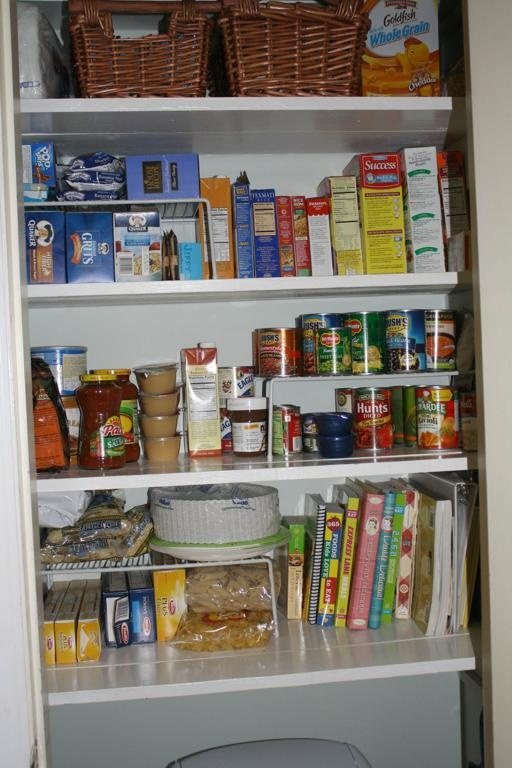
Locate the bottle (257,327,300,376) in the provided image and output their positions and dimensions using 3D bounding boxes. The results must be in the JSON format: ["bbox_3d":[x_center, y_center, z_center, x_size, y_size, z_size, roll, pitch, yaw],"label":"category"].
[{"bbox_3d":[0.043,-0.060,1.258,0.087,0.099,0.086,1,-2,-34],"label":"bottle"}]

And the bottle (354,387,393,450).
[{"bbox_3d":[0.230,0.067,1.264,0.080,0.127,0.081,-1,0,0],"label":"bottle"}]

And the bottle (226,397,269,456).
[{"bbox_3d":[-0.016,0.083,1.257,0.099,0.114,0.097,-1,-2,-22],"label":"bottle"}]

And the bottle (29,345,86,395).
[{"bbox_3d":[-0.380,-0.028,1.253,0.096,0.107,0.097,-3,9,-16],"label":"bottle"}]

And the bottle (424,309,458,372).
[{"bbox_3d":[0.382,-0.090,1.263,0.073,0.127,0.073,-1,0,0],"label":"bottle"}]

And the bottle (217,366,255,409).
[{"bbox_3d":[-0.042,0.008,1.323,0.073,0.082,0.073,-3,4,-23],"label":"bottle"}]

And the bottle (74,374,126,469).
[{"bbox_3d":[-0.282,0.065,1.154,0.086,0.172,0.089,-5,7,1],"label":"bottle"}]

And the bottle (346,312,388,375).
[{"bbox_3d":[0.217,-0.081,1.273,0.077,0.122,0.079,-2,2,0],"label":"bottle"}]

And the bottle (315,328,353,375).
[{"bbox_3d":[0.148,-0.070,1.230,0.078,0.089,0.078,-8,13,-18],"label":"bottle"}]

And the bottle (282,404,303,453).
[{"bbox_3d":[0.066,0.084,1.253,0.054,0.094,0.056,-2,16,1],"label":"bottle"}]

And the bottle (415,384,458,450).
[{"bbox_3d":[0.351,0.058,1.234,0.081,0.125,0.081,-4,10,1],"label":"bottle"}]

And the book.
[{"bbox_3d":[0.239,0.321,1.329,0.326,0.319,0.246,0,5,-7],"label":"book"}]

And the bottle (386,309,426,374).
[{"bbox_3d":[0.291,-0.090,1.267,0.079,0.125,0.078,-4,12,1],"label":"bottle"}]
